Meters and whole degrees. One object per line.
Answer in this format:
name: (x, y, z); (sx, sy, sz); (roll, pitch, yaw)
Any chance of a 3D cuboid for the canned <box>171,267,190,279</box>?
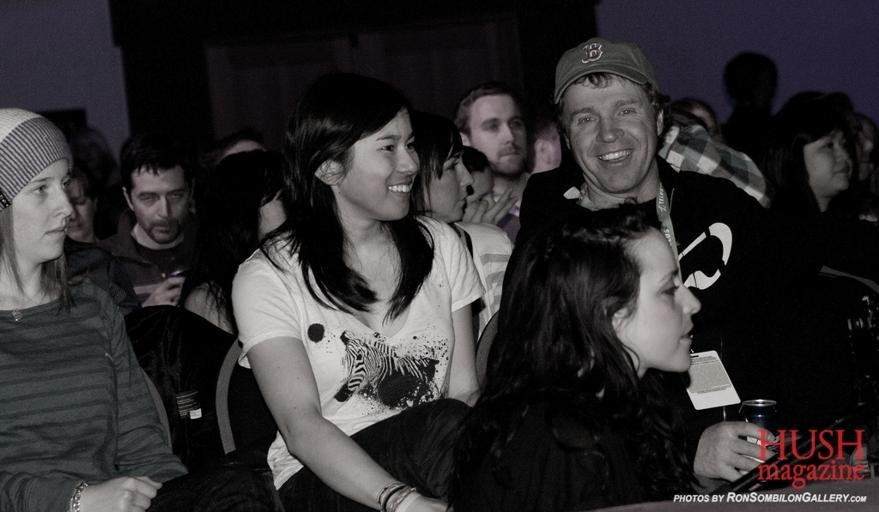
canned: (-1.872, 0.126, 5.216); (0.114, 0.049, 0.144); (0, -2, -1)
